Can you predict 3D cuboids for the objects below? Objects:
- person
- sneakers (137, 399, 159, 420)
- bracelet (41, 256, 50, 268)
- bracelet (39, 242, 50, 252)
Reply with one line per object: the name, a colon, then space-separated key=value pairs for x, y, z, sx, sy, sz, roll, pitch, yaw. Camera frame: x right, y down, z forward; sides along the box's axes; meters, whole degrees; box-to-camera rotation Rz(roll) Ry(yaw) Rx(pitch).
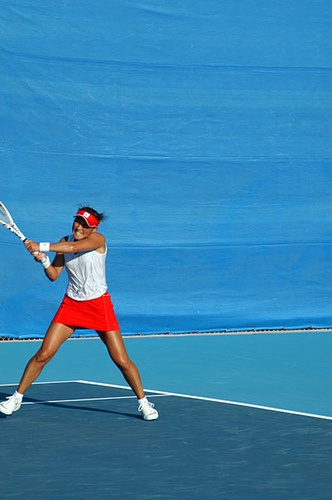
person: x=-0.624 y=0.442 z=4.120 sx=1.014 sy=1.505 sz=0.682 roll=0 pitch=-2 yaw=23
sneakers: x=-0.134 y=1.104 z=4.165 sx=0.106 sy=0.071 sz=0.193 roll=-23 pitch=23 yaw=-12
bracelet: x=-0.845 y=0.081 z=4.128 sx=0.079 sy=0.081 sz=0.078 roll=-2 pitch=-29 yaw=-2
bracelet: x=-0.803 y=-0.020 z=3.896 sx=0.070 sy=0.042 sz=0.063 roll=2 pitch=-2 yaw=-10
